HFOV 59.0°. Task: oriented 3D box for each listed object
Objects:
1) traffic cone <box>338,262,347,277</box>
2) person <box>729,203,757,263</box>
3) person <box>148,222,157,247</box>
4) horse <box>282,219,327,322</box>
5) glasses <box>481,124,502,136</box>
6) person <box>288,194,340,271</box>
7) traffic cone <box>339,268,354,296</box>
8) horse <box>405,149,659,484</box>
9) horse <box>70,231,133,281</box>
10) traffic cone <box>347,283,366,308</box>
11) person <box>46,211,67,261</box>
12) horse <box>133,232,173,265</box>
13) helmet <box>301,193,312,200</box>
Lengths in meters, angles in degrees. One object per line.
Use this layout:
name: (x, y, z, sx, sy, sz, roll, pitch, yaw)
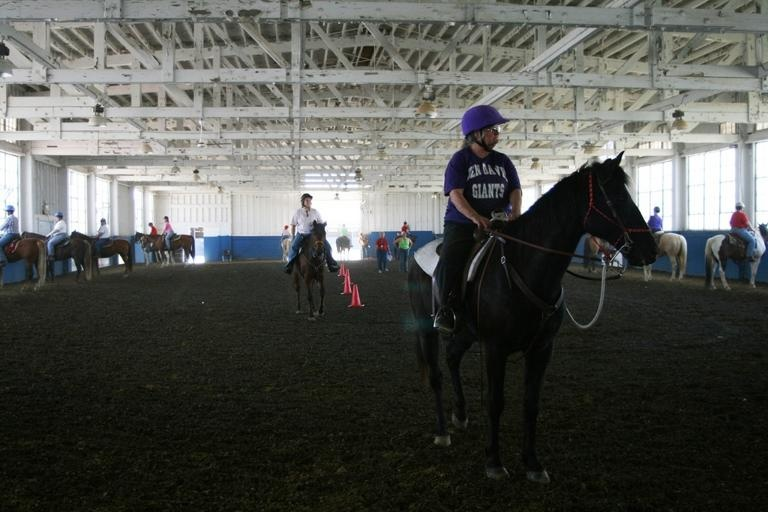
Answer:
traffic cone: (-1.838, 0.629, 29.794, 0.500, 0.510, 0.669, -3, 26, 1)
person: (10.844, -0.789, 20.893, 0.783, 1.685, 0.608, 4, 13, 26)
person: (-11.855, -1.203, 35.423, 0.414, 1.097, 1.392, -6, 13, -19)
horse: (-1.854, 0.427, 17.126, 0.805, 2.267, 3.130, -3, -4, -17)
glasses: (1.483, -1.788, 9.620, 0.272, 0.150, 0.196, -4, 1, 12)
person: (-1.976, -0.539, 16.862, 1.358, 1.902, 1.062, -9, -4, 1)
traffic cone: (-1.232, 0.880, 21.948, 0.688, 0.915, 0.701, -1, 3, -3)
horse: (1.639, 1.045, 9.936, 1.464, 4.173, 5.189, 6, -6, -26)
horse: (-11.856, -0.062, 29.158, 2.566, 1.813, 0.624, 0, 6, -11)
traffic cone: (-0.707, 1.052, 18.325, 0.539, 0.679, 0.534, -6, 4, -23)
person: (-11.538, -0.733, 24.315, 0.709, 1.757, 1.197, -7, 13, -24)
horse: (-11.909, -0.370, 35.930, 1.449, 1.885, 1.692, -2, 12, -4)
helmet: (-1.850, -1.414, 16.374, 0.229, 0.174, 0.476, -3, 12, -8)
